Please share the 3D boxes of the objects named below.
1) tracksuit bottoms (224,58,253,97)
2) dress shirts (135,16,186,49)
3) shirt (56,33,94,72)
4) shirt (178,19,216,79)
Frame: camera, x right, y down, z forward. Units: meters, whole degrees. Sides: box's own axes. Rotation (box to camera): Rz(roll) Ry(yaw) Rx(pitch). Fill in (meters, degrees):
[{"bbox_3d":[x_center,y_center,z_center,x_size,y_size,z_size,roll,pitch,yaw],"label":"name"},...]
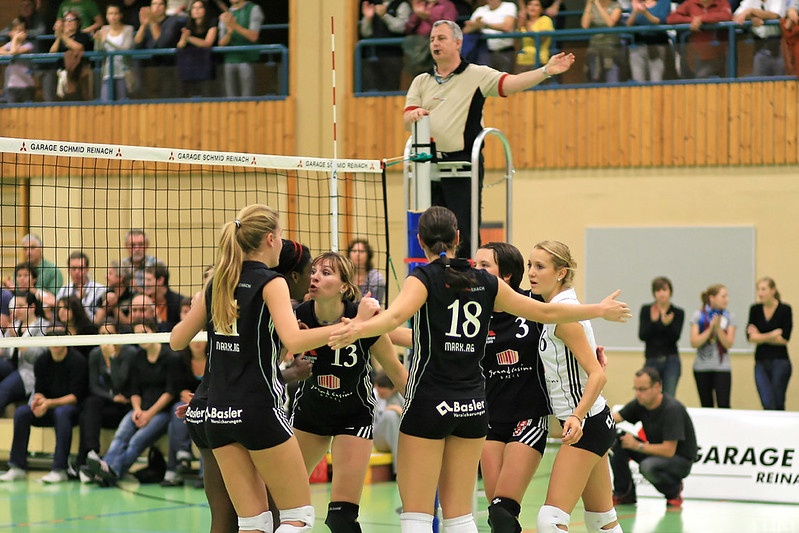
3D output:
[{"bbox_3d":[-2.751,-3.243,22.377,0.394,0.961,0.298,1,17,-3],"label":"tracksuit bottoms"},{"bbox_3d":[-4.043,-3.924,22.359,0.567,0.661,0.227,8,-8,19],"label":"dress shirts"},{"bbox_3d":[-5.592,-3.729,22.801,0.651,0.907,0.471,0,0,31],"label":"shirt"},{"bbox_3d":[-3.489,-3.633,22.333,0.589,0.936,0.239,3,19,13],"label":"shirt"}]
